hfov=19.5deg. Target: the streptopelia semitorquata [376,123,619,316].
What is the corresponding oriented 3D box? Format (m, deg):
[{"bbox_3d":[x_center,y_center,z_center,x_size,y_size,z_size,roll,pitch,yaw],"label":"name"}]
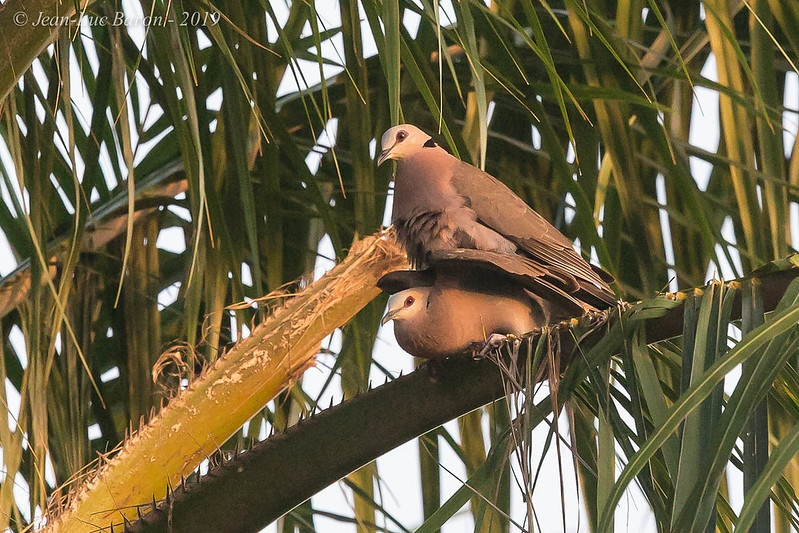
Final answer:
[{"bbox_3d":[0.321,-0.049,7.326,0.705,0.868,0.347,5,-34,-42],"label":"streptopelia semitorquata"}]
